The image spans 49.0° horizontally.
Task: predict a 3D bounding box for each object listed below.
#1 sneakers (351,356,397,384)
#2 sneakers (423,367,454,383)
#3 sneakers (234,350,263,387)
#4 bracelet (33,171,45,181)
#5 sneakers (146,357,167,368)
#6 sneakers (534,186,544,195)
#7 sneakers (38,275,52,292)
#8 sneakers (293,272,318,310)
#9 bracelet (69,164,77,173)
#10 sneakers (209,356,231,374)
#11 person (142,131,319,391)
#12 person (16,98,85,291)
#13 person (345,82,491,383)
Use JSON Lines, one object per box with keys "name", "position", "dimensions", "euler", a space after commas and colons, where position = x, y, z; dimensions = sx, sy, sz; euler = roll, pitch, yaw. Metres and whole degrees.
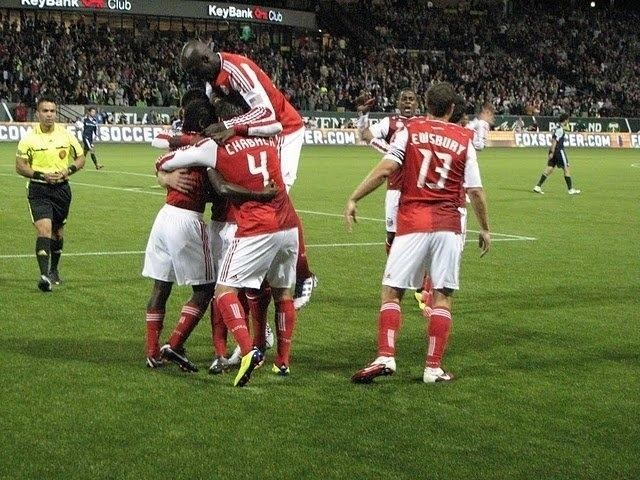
{"name": "sneakers", "position": [0.436, 1.058, 5.736], "dimensions": [0.340, 0.249, 0.220], "euler": [0, 10, -9]}
{"name": "sneakers", "position": [0.980, 1.098, 5.810], "dimensions": [0.212, 0.101, 0.113], "euler": [-2, 6, -20]}
{"name": "sneakers", "position": [-0.563, 1.031, 5.614], "dimensions": [0.096, 0.274, 0.126], "euler": [31, 17, -13]}
{"name": "bracelet", "position": [-3.445, -0.806, 8.643], "dimensions": [0.108, 0.123, 0.121], "euler": [-1, 9, 3]}
{"name": "sneakers", "position": [-1.406, 1.039, 6.050], "dimensions": [0.171, 0.074, 0.081], "euler": [-2, 10, -18]}
{"name": "sneakers", "position": [6.201, -1.432, 19.873], "dimensions": [0.409, 0.194, 0.142], "euler": [15, 12, -43]}
{"name": "sneakers", "position": [-3.292, 0.512, 8.425], "dimensions": [0.150, 0.204, 0.183], "euler": [-4, 11, -26]}
{"name": "sneakers", "position": [-0.189, 0.510, 7.484], "dimensions": [0.151, 0.485, 0.195], "euler": [21, 9, 26]}
{"name": "bracelet", "position": [-3.140, -0.913, 8.948], "dimensions": [0.099, 0.112, 0.032], "euler": [-4, -14, 21]}
{"name": "sneakers", "position": [-0.846, 1.070, 5.968], "dimensions": [0.086, 0.102, 0.213], "euler": [-3, -5, 16]}
{"name": "person", "position": [-0.645, 0.118, 5.905], "dimensions": [0.896, 1.989, 0.964], "euler": [6, 10, 28]}
{"name": "person", "position": [-3.419, -0.619, 8.776], "dimensions": [0.649, 2.293, 1.206], "euler": [0, 9, -2]}
{"name": "person", "position": [0.885, -0.084, 5.920], "dimensions": [1.139, 2.476, 0.765], "euler": [-1, 9, -10]}
